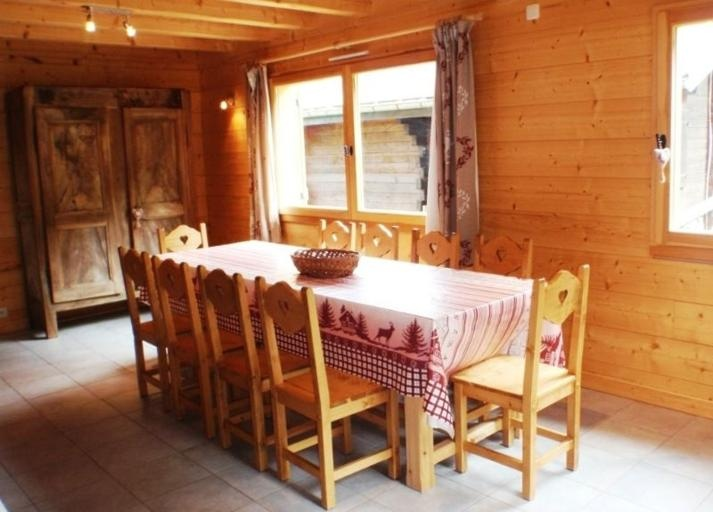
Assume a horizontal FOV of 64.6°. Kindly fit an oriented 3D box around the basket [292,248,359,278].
[{"bbox_3d":[-0.173,0.045,3.727,0.276,0.091,0.272,-6,11,-23],"label":"basket"}]
